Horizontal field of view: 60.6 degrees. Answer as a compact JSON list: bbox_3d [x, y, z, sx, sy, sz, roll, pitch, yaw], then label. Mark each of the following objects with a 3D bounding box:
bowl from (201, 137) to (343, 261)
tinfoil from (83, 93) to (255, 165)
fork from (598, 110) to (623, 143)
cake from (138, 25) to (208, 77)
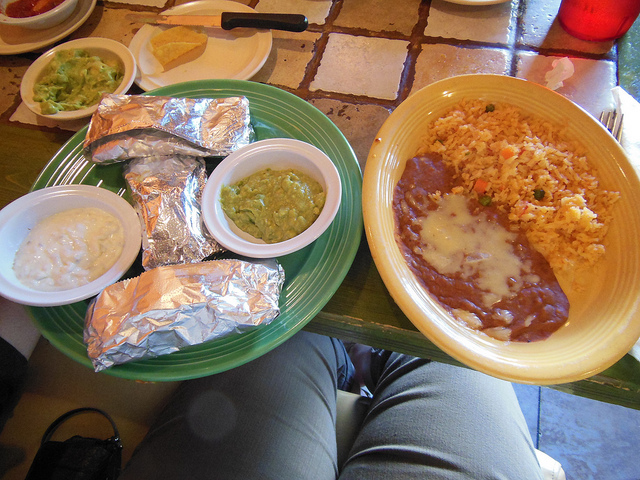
[{"bbox_3d":[-0.161,-0.141,1.828,0.463,0.135,0.412,-16,82,-2],"label":"bowl"},{"bbox_3d":[-0.520,-0.378,1.913,0.432,0.120,0.278,0,72,-2],"label":"tinfoil"},{"bbox_3d":[1.023,-0.398,1.925,0.064,0.033,0.125,9,73,19],"label":"fork"},{"bbox_3d":[-0.591,-0.744,2.255,0.268,0.086,0.191,-30,72,10],"label":"cake"}]
